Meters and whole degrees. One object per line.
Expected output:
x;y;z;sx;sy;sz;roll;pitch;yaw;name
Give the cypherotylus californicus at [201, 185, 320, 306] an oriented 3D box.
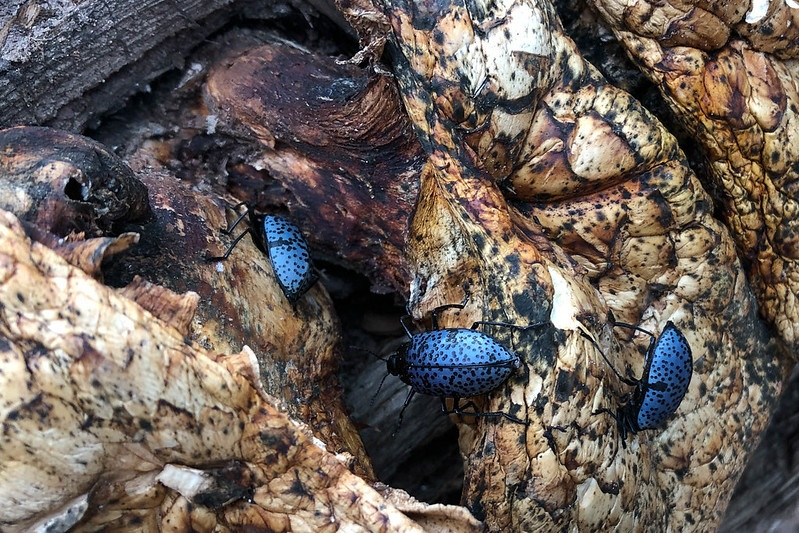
-0.627;-0.050;7.127;0.404;0.147;0.483;-8;56;-44;cypherotylus californicus
